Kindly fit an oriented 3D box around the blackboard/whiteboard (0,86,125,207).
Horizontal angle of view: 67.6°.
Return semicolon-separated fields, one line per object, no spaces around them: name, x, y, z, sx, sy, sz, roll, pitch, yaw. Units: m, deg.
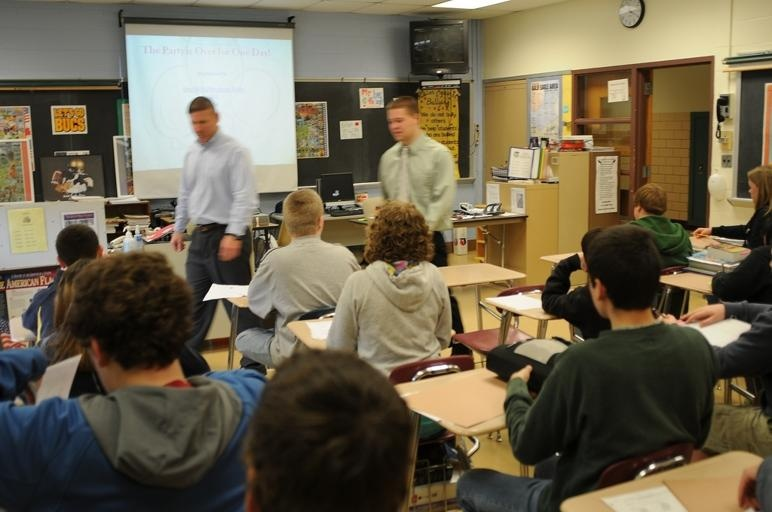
blackboard/whiteboard;-3.921;-1.334;6.859;1.589;1.610;0.125;-3;9;-17

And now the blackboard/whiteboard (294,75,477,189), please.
blackboard/whiteboard;-0.178;-1.646;7.458;2.159;1.247;0.072;-3;9;-17

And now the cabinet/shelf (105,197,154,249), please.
cabinet/shelf;-2.882;-0.363;6.396;0.613;0.574;0.199;-3;3;-42

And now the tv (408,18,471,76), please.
tv;0.714;-2.953;8.578;1.181;1.035;0.681;-1;5;0

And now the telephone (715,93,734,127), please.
telephone;3.753;-1.627;6.411;0.141;0.318;0.082;7;14;42

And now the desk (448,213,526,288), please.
desk;1.402;-0.126;7.359;0.691;0.608;0.744;10;8;38
